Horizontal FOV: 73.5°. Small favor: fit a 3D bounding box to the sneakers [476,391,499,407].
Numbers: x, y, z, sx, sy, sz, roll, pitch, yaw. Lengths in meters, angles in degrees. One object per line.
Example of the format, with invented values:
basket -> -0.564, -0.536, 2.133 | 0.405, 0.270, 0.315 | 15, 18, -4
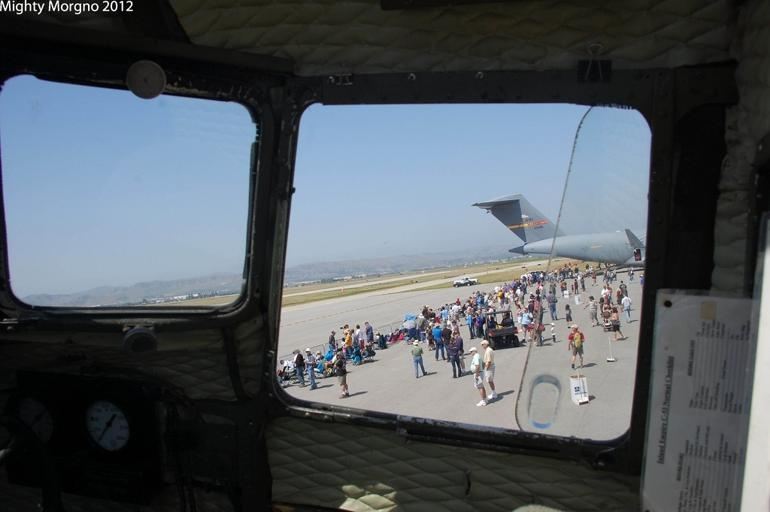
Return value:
sneakers -> 0.722, 1.012, 3.679 | 0.075, 0.087, 0.211 | -11, -19, 15
